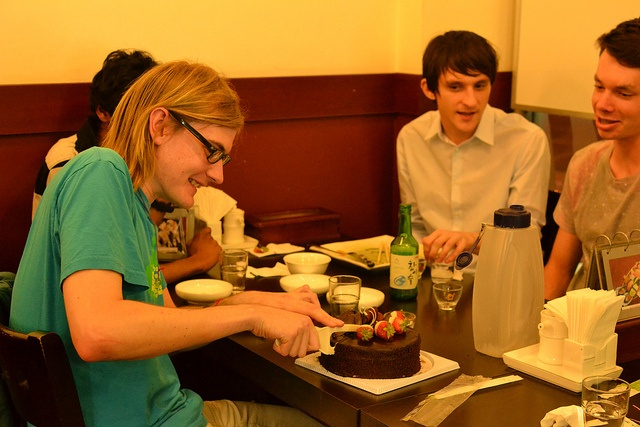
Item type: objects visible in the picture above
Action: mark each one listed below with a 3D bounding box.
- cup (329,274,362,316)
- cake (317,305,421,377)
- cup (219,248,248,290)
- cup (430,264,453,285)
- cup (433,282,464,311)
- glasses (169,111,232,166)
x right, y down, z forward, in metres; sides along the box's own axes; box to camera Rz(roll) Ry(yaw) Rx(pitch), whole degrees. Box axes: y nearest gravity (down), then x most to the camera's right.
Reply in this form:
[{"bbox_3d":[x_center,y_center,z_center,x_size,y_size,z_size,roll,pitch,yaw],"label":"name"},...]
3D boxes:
[{"bbox_3d":[0.092,0.294,1.756,0.132,0.154,0.136,1,0,0],"label":"cup"},{"bbox_3d":[0.163,0.368,1.436,0.207,0.113,0.206,-2,6,-2],"label":"cake"},{"bbox_3d":[-0.355,0.240,2.034,0.143,0.225,0.143,1,4,0],"label":"cup"},{"bbox_3d":[0.526,0.259,2.099,0.090,0.097,0.088,-1,5,0],"label":"cup"},{"bbox_3d":[0.511,0.317,1.903,0.107,0.083,0.107,-1,10,0],"label":"cup"},{"bbox_3d":[-0.351,-0.217,1.387,0.037,0.134,0.134,-42,-16,-4],"label":"glasses"}]
